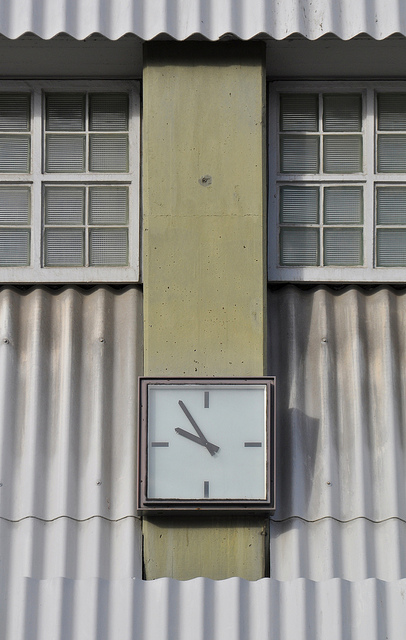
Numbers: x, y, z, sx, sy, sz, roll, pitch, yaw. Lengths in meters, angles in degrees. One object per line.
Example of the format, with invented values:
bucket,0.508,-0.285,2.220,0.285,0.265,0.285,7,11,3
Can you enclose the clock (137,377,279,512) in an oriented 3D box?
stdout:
clock,0.002,0.800,11.096,0.504,0.808,0.086,1,-14,-1
